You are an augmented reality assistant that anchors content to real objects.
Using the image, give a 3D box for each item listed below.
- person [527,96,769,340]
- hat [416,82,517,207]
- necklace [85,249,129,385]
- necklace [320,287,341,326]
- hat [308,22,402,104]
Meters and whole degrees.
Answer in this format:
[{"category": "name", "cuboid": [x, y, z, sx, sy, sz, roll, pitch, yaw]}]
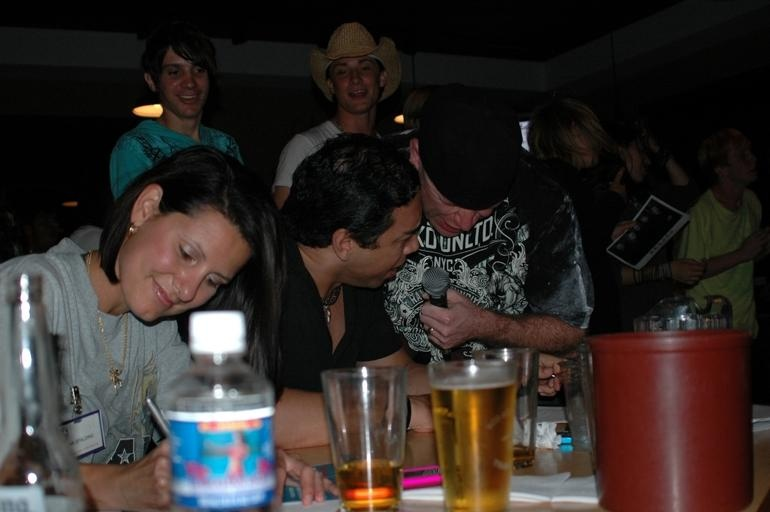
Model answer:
[{"category": "person", "cuboid": [1.665, -0.222, 3.668, 0.755, 0.800, 1.987, -10, -19, 39]}, {"category": "hat", "cuboid": [0.307, -0.408, 2.331, 0.338, 0.441, 0.356, -24, -44, -4]}, {"category": "necklace", "cuboid": [-0.772, 0.166, 1.684, 0.116, 0.386, 0.034, -2, -1, -14]}, {"category": "necklace", "cuboid": [-0.195, 0.184, 2.153, 0.040, 0.118, 0.087, 17, 16, 41]}, {"category": "hat", "cuboid": [-0.175, -1.205, 3.733, 0.486, 0.261, 0.571, -6, 15, 8]}]
